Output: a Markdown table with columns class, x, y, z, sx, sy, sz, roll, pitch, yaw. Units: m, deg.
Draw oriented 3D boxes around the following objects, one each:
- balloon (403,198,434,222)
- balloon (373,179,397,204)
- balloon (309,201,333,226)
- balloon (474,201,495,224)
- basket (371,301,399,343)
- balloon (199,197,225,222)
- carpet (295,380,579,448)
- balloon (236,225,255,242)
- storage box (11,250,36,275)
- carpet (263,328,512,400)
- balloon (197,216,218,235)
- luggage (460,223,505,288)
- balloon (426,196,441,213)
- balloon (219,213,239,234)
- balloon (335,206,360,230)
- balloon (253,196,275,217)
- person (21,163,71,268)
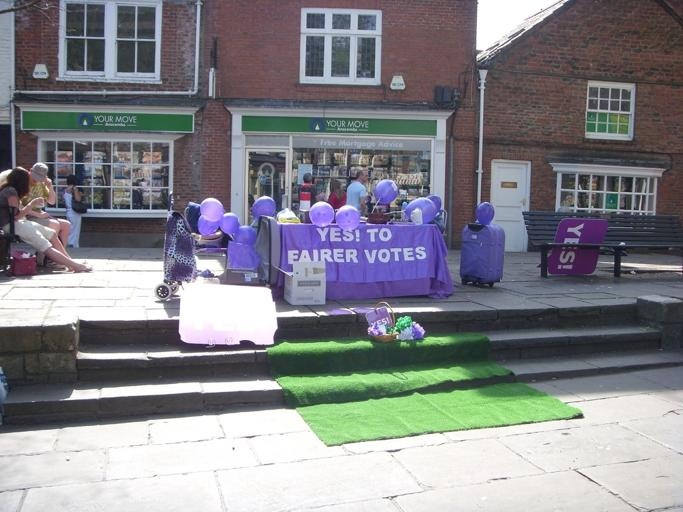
| class | x | y | z | sx | sy | sz | roll | pitch | yaw |
| --- | --- | --- | --- | --- | --- | --- | --- | --- | --- |
| balloon | 1.206 | -0.715 | 10.951 | 0.403 | 0.353 | 0.316 | -8 | 1 | 13 |
| balloon | 0.684 | -0.996 | 11.000 | 0.321 | 0.398 | 0.342 | 2 | 8 | 3 |
| balloon | -0.284 | -0.598 | 10.140 | 0.323 | 0.357 | 0.201 | 2 | 7 | -2 |
| balloon | 2.282 | -0.706 | 11.385 | 0.352 | 0.452 | 0.366 | 5 | -6 | 8 |
| basket | 0.535 | 0.841 | 9.129 | 0.324 | 0.515 | 0.406 | 3 | 8 | 44 |
| balloon | -1.948 | -0.684 | 10.578 | 0.319 | 0.338 | 0.389 | 16 | -10 | 9 |
| carpet | 1.109 | 1.733 | 8.006 | 3.031 | 0.051 | 1.298 | -2 | 6 | -21 |
| balloon | -1.389 | -0.319 | 10.434 | 0.321 | 0.247 | 0.204 | -1 | 8 | -23 |
| storage box | -4.868 | 0.100 | 10.974 | 0.369 | 0.372 | 0.318 | -1 | -1 | 22 |
| carpet | 0.656 | 1.302 | 8.690 | 3.032 | 0.581 | 1.295 | -2 | -2 | -23 |
| balloon | -2.017 | -0.442 | 10.709 | 0.314 | 0.283 | 0.273 | -4 | -4 | 17 |
| luggage | 2.216 | -0.028 | 11.386 | 0.335 | 1.027 | 0.715 | -5 | 10 | -41 |
| balloon | 1.427 | -0.816 | 11.093 | 0.179 | 0.246 | 0.241 | -15 | 5 | 30 |
| balloon | -1.659 | -0.494 | 10.740 | 0.298 | 0.371 | 0.307 | 1 | -6 | -6 |
| balloon | 0.095 | -0.569 | 10.225 | 0.318 | 0.377 | 0.327 | -3 | 12 | 0 |
| balloon | -1.164 | -0.765 | 10.862 | 0.300 | 0.370 | 0.307 | 13 | -11 | -16 |
| person | -5.053 | -0.886 | 12.023 | 0.764 | 2.041 | 0.917 | 2 | 10 | -12 |
